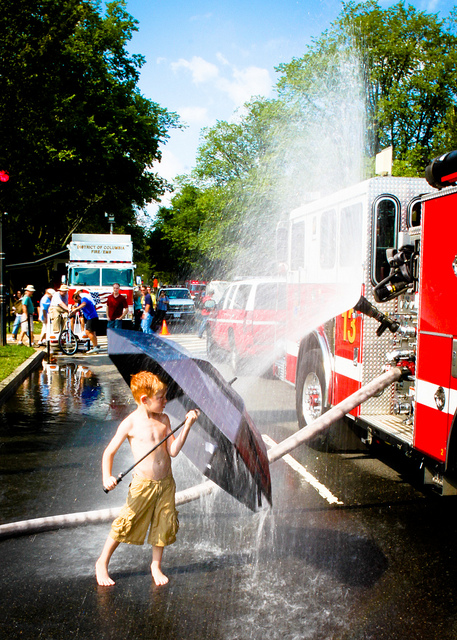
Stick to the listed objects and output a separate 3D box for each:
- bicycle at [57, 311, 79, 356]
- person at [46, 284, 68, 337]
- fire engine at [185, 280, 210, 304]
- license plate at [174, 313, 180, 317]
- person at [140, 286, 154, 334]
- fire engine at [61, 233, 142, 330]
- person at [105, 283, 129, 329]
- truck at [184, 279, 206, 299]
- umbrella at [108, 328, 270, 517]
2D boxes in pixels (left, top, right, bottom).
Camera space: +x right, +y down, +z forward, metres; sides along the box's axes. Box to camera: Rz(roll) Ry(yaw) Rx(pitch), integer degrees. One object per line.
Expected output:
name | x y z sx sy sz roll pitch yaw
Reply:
bicycle | -4.793 0.462 15.768 0.544 1.238 0.707 1 0 -1
person | -5.206 -0.264 16.074 0.549 1.476 1.513 0 0 -19
fire engine | -2.860 -2.752 50.449 1.957 1.980 3.421 -1 1 -13
license plate | -3.032 -0.240 30.872 0.294 0.149 0.033 1 0 -11
person | -2.889 -0.418 18.885 0.441 1.564 2.256 1 0 -9
fire engine | -5.421 -1.904 24.687 3.114 3.857 6.168 1 -1 -2
person | -3.266 -0.432 15.444 0.594 1.246 1.945 1 0 -13
truck | -3.089 -3.014 50.958 2.071 1.996 3.381 -1 2 -13
umbrella | -0.184 0.486 2.731 0.984 0.592 0.498 1 0 43
